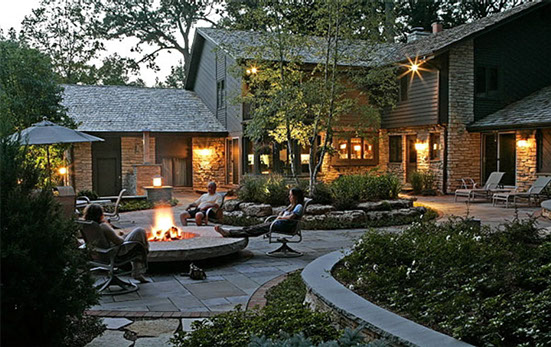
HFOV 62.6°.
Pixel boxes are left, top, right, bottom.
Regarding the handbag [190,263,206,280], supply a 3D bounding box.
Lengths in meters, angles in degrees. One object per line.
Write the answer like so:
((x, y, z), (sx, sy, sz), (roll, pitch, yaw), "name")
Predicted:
((-1.462, 1.895, 8.668), (0.297, 0.322, 0.259), (-5, -7, 29), "handbag")

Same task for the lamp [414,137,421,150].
((7.102, -1.433, 22.593), (0.226, 0.606, 0.728), (1, 7, 5), "lamp")

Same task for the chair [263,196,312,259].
((0.266, 1.286, 10.645), (1.074, 1.240, 0.859), (1, -4, -8), "chair")

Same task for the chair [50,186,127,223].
((-5.047, 0.841, 12.342), (1.809, 1.065, 0.993), (8, -10, -36), "chair")

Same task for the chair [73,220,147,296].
((-2.966, 1.533, 8.223), (1.032, 1.154, 1.279), (-6, -10, 27), "chair")

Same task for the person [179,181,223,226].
((-2.109, 1.031, 12.693), (0.849, 1.642, 1.153), (0, -6, 38), "person")

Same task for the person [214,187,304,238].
((-0.408, 0.934, 10.739), (2.334, 1.127, 0.949), (-3, -3, -8), "person")

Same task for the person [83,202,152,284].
((-2.893, 1.336, 8.051), (1.052, 1.228, 1.214), (1, 8, 17), "person")

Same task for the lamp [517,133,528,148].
((10.719, -1.396, 19.620), (0.143, 0.658, 0.513), (-4, 8, -31), "lamp")

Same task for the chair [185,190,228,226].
((-1.906, 0.940, 12.785), (1.239, 0.825, 0.883), (-9, 18, -21), "chair")
